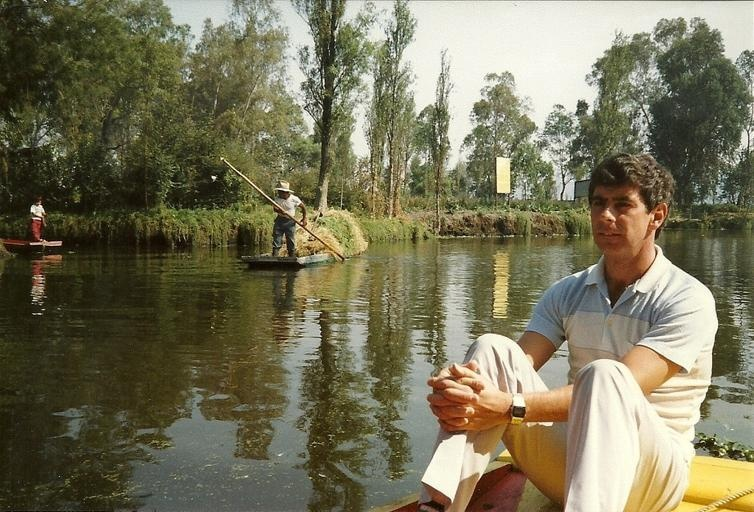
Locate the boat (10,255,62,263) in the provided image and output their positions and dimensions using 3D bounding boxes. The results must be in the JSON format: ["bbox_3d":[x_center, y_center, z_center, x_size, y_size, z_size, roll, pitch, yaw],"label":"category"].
[{"bbox_3d":[-9.636,0.068,18.158,0.953,0.218,0.938,1,-4,-36],"label":"boat"}]

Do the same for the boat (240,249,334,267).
[{"bbox_3d":[-2.276,0.083,17.097,1.368,0.366,2.812,4,7,25],"label":"boat"}]
